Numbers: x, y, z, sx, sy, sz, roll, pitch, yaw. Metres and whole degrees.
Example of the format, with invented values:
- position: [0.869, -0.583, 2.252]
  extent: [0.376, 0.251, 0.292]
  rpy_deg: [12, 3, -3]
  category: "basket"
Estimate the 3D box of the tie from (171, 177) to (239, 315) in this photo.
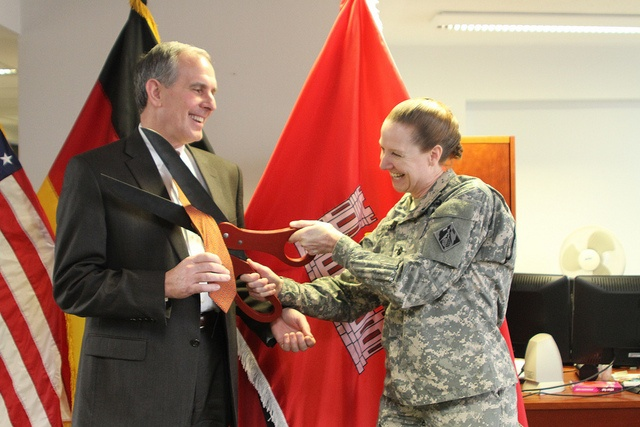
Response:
- position: [-0.542, 0.084, 2.838]
  extent: [0.135, 0.784, 0.033]
  rpy_deg: [-17, -10, -28]
  category: "tie"

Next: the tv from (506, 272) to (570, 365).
- position: [1.338, 0.583, 3.741]
  extent: [0.451, 0.522, 0.119]
  rpy_deg: [2, 5, 5]
  category: "tv"
